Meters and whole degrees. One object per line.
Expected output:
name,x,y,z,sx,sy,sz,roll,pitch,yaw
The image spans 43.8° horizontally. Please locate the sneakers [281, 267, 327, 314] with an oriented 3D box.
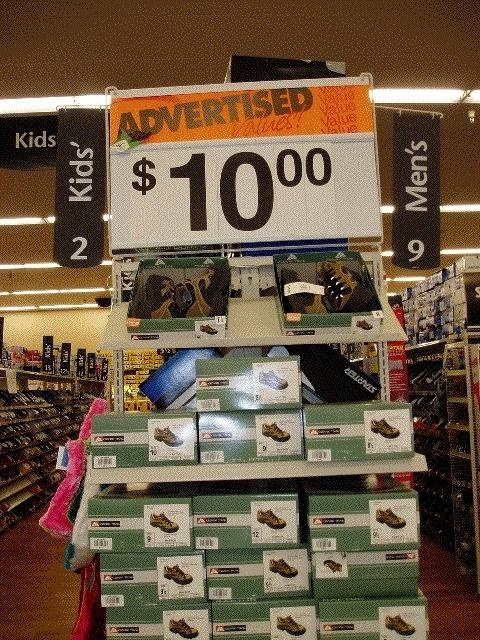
sneakers,0.187,-0.081,1.789,0.127,0.106,0.050,-2,6,4
